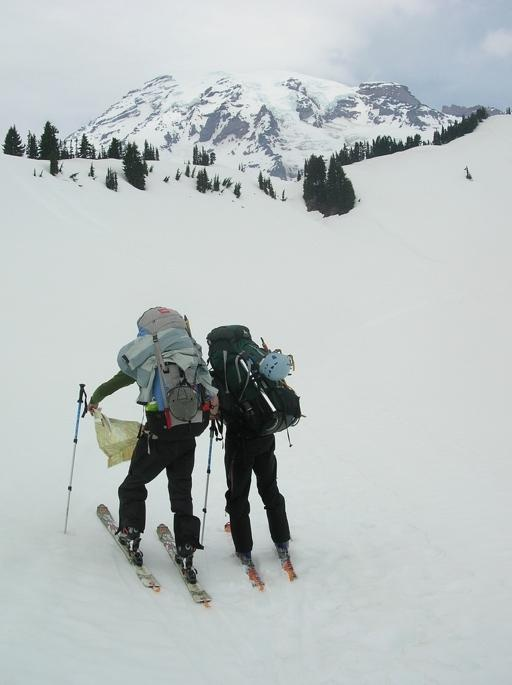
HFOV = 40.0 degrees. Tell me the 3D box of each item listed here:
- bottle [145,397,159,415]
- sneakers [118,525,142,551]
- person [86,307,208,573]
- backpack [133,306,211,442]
[{"bbox_3d":[-0.807,0.497,5.510,0.073,0.108,0.083,-5,11,-33],"label":"bottle"},{"bbox_3d":[-1.018,1.530,5.586,0.124,0.137,0.332,3,12,-20],"label":"sneakers"},{"bbox_3d":[-0.757,0.842,5.716,0.883,2.191,0.764,1,9,-2],"label":"person"},{"bbox_3d":[-0.709,0.267,5.889,0.718,0.989,0.416,-7,-16,-19],"label":"backpack"}]
